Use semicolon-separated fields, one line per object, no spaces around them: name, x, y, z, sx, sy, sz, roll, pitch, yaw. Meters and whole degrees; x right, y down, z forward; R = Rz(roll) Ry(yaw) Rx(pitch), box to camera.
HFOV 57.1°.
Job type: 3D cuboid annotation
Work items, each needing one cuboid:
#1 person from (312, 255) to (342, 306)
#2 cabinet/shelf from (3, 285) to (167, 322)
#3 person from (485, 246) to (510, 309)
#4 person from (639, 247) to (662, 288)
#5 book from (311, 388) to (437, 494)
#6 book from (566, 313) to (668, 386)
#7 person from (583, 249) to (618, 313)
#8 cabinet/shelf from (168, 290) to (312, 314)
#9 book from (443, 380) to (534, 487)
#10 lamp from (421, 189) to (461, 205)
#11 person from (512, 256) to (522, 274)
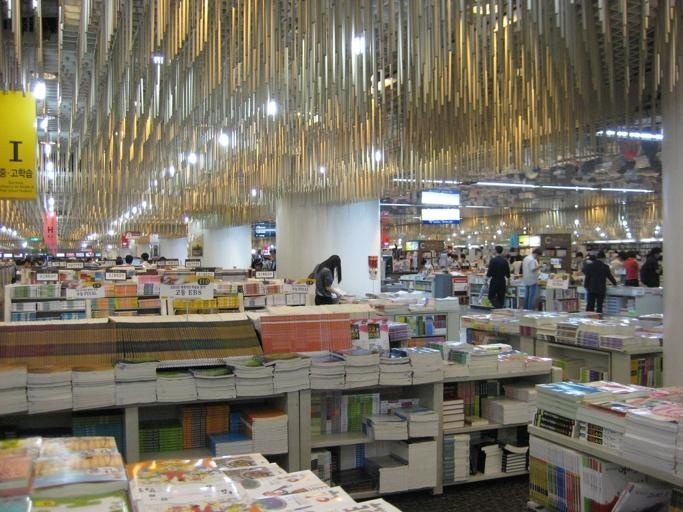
person;-0.248;0.383;9.974;0.457;0.784;1.089;3;5;-2
cabinet/shelf;-3.843;0.665;9.135;2.136;0.592;0.893;4;5;0
person;3.633;0.516;14.601;0.469;1.616;1.863;4;5;13
person;6.495;0.252;13.161;0.400;0.788;1.779;5;5;26
book;0.262;1.626;5.449;0.850;0.890;0.296;0;-5;-15
book;3.035;1.029;6.906;0.671;0.655;1.001;0;-1;-26
person;5.176;0.524;12.548;0.584;1.310;1.341;5;5;24
cabinet/shelf;-1.573;0.694;9.383;2.186;0.339;0.749;0;6;-38
book;1.338;1.657;5.788;0.849;0.887;0.297;0;-4;-20
lamp;2.799;-1.662;17.739;1.400;0.366;2.566;2;2;11
person;5.031;0.232;17.936;0.265;0.493;0.999;5;5;15
